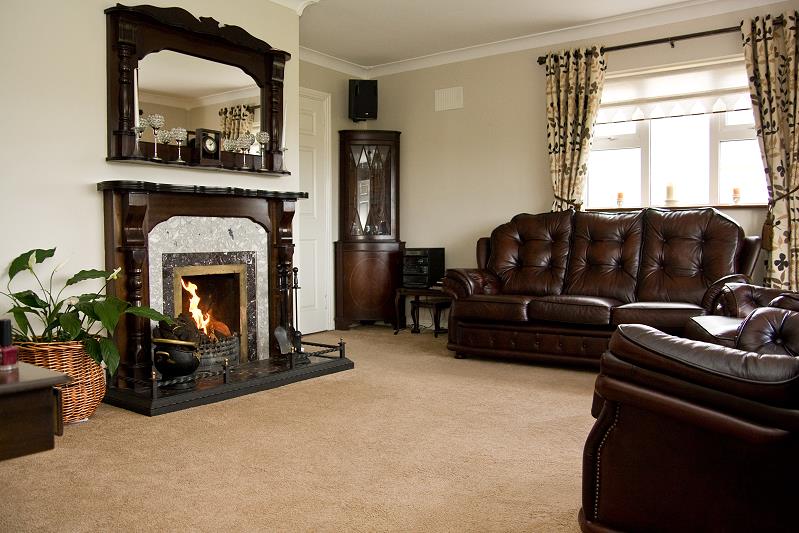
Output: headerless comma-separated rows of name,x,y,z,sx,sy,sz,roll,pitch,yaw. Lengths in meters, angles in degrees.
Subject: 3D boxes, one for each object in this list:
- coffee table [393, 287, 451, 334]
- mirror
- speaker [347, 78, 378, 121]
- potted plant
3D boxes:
coffee table,0.239,0.475,7.046,0.531,0.640,0.908,2,-3,-45
mirror,-1.769,-1.519,4.836,0.193,1.251,1.796,-3,-2,35
speaker,-0.464,-2.140,7.304,0.340,0.480,0.108,-2,8,-12
potted plant,-2.260,0.470,4.071,0.913,1.194,0.796,7,10,43
